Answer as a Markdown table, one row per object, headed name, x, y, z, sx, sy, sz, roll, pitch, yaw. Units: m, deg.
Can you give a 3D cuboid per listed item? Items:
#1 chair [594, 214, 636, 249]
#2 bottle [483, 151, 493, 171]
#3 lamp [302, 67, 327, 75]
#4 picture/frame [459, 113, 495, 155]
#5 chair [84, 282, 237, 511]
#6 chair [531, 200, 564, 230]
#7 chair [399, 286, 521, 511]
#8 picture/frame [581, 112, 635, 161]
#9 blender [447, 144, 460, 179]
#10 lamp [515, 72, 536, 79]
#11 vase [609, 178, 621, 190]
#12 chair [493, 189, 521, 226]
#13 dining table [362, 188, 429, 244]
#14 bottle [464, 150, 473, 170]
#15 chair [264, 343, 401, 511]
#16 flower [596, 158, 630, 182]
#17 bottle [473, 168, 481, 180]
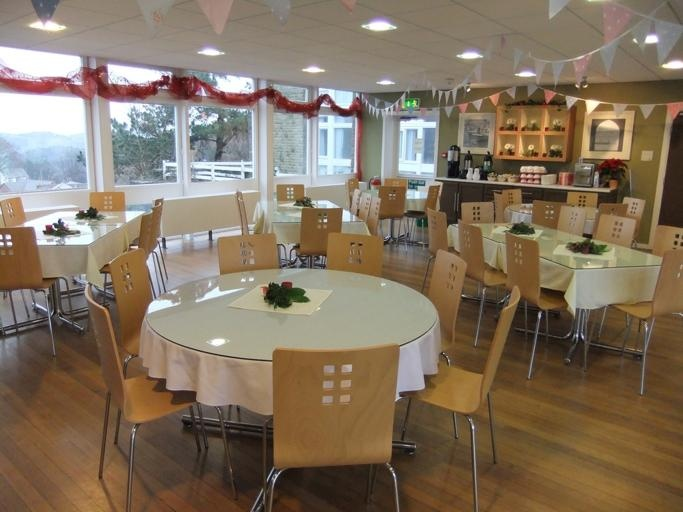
| name | x | y | z | sx | sy | sz | roll | pitch | yaw |
| --- | --- | --- | --- | --- | --- | --- | --- | --- | --- |
| chair | 2.890 | -0.265 | 5.338 | 0.290 | 0.580 | 0.339 | 13 | 24 | 36 |
| bottle | 2.939 | -1.905 | 10.094 | 0.178 | 0.389 | 0.349 | 2 | 13 | 17 |
| lamp | -0.448 | -3.001 | 8.106 | 0.218 | 0.062 | 0.241 | -6 | 16 | -27 |
| picture/frame | 2.784 | -2.530 | 10.290 | 0.795 | 0.971 | 0.047 | 11 | 14 | 36 |
| chair | -1.054 | 0.879 | 3.000 | 0.819 | 1.494 | 0.732 | -8 | 19 | -29 |
| chair | 2.564 | -0.551 | 6.358 | 0.333 | 0.375 | 0.336 | 18 | 19 | 31 |
| chair | 0.761 | 0.978 | 3.274 | 0.774 | 1.425 | 0.700 | 14 | 22 | 29 |
| picture/frame | 4.648 | -2.093 | 8.725 | 0.044 | 0.997 | 0.860 | -8 | 11 | -37 |
| blender | 2.303 | -1.959 | 10.382 | 0.257 | 0.623 | 0.243 | 2 | 13 | 17 |
| lamp | 2.806 | -2.813 | 7.733 | 0.242 | 0.062 | 0.248 | 2 | 3 | 41 |
| vase | 4.527 | -1.200 | 8.394 | 0.163 | 0.196 | 0.163 | -13 | 21 | -36 |
| chair | 2.572 | -0.780 | 7.552 | 0.303 | 0.553 | 0.341 | -8 | -10 | 19 |
| dining table | 0.775 | -0.607 | 8.061 | 0.527 | 0.670 | 0.579 | -7 | 4 | -7 |
| bottle | 2.596 | -1.988 | 10.305 | 0.178 | 0.365 | 0.408 | 2 | 13 | 14 |
| chair | -0.027 | 0.720 | 2.428 | 0.576 | 0.950 | 0.584 | -1 | 25 | -5 |
| flower | 4.493 | -1.425 | 8.336 | 0.387 | 0.281 | 0.422 | -4 | 24 | 13 |
| bottle | 2.628 | -1.601 | 9.834 | 0.177 | 0.277 | 0.190 | 2 | 3 | 0 |
